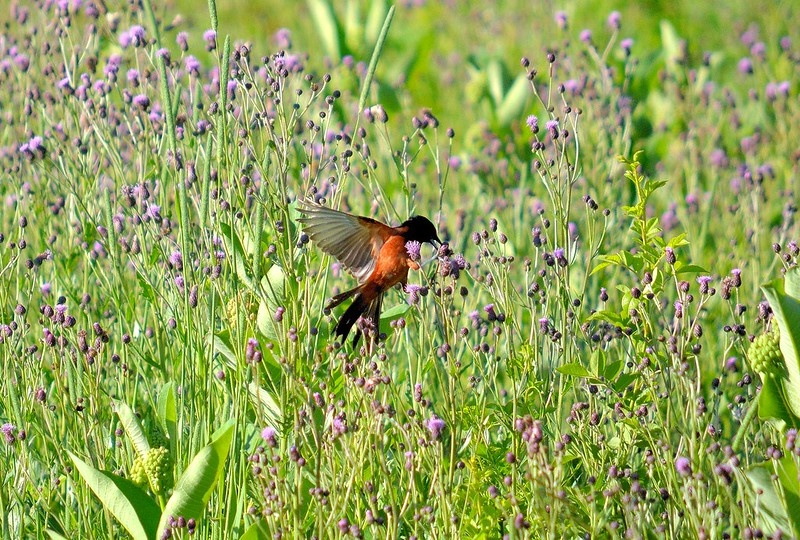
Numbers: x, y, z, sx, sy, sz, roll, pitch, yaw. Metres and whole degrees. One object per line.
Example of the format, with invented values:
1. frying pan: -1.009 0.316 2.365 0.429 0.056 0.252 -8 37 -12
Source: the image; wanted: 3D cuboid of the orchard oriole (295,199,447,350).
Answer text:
1. orchard oriole: -0.103 -0.013 4.713 0.543 0.543 0.329 -8 48 -10
